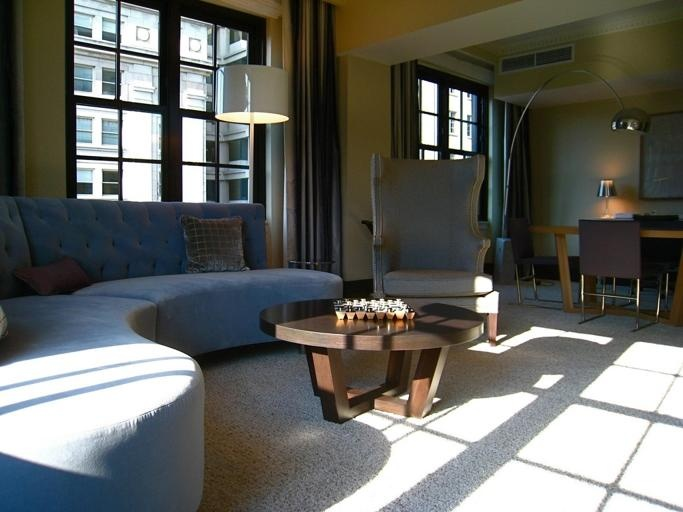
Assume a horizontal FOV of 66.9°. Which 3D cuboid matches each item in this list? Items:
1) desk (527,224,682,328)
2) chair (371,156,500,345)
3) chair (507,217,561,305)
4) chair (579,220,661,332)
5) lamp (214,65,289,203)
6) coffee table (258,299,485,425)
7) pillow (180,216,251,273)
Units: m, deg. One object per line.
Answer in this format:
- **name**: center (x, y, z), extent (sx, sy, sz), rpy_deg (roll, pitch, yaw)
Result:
- **desk**: center (2.510, 0.084, 4.911), extent (1.109, 0.675, 1.154), rpy_deg (0, 2, 26)
- **chair**: center (0.683, -0.077, 3.813), extent (1.005, 1.380, 1.113), rpy_deg (2, 4, 33)
- **chair**: center (1.979, 0.055, 5.650), extent (0.531, 0.845, 0.495), rpy_deg (-9, -2, -31)
- **chair**: center (2.545, 0.129, 4.689), extent (0.619, 0.991, 0.489), rpy_deg (-11, 12, -41)
- **lamp**: center (-0.767, -1.129, 4.641), extent (0.653, 1.275, 0.733), rpy_deg (-3, 9, -11)
- **coffee table**: center (0.155, 0.553, 2.680), extent (1.033, 0.502, 1.066), rpy_deg (5, 5, 40)
- **pillow**: center (-0.932, -0.079, 3.752), extent (0.404, 0.364, 0.133), rpy_deg (1, -21, -37)
